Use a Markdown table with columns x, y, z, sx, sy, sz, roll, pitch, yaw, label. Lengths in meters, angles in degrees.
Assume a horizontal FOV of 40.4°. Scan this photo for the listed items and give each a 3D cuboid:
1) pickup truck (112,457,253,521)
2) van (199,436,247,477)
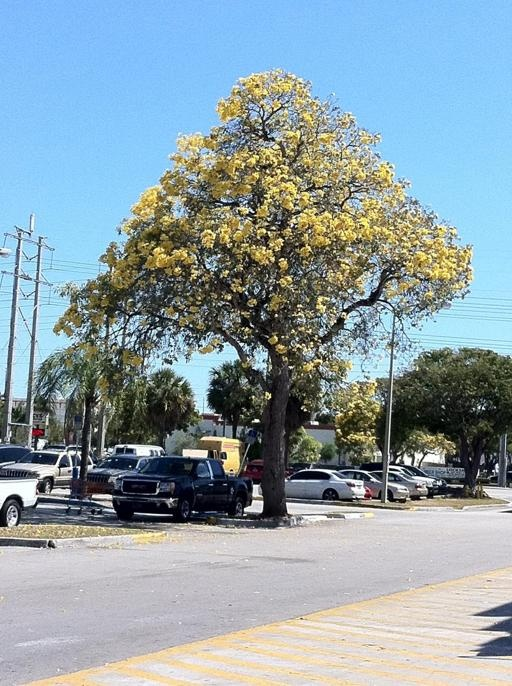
| x | y | z | sx | sy | sz | roll | pitch | yaw | label |
| --- | --- | --- | --- | --- | --- | --- | --- | --- | --- |
| -2.151 | 4.259 | 20.951 | 2.147 | 1.204 | 3.657 | -6 | -15 | 29 | pickup truck |
| -2.937 | 7.811 | 49.515 | 2.572 | 3.086 | 6.427 | -4 | -12 | 22 | van |
